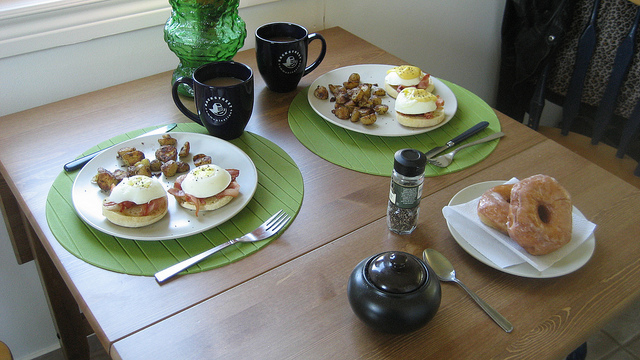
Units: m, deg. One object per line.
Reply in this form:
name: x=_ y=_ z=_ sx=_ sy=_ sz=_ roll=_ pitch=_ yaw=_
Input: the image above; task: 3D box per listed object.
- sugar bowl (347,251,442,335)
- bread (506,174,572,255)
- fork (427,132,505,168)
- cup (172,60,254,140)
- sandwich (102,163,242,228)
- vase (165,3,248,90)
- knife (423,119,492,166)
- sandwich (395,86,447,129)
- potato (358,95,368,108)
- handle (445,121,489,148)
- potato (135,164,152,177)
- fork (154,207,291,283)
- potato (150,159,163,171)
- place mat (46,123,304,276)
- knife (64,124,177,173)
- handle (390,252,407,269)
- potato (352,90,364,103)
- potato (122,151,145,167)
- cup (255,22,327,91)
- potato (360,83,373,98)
sugar bowl: x=0.189 y=0.252 z=1.049 sx=0.237 sy=0.137 sz=0.235 roll=-1 pitch=30 yaw=0
bread: x=0.592 y=0.088 z=1.135 sx=0.193 sy=0.069 sz=0.203 roll=27 pitch=67 yaw=-3
fork: x=0.479 y=-0.095 z=1.344 sx=0.296 sy=0.021 sz=0.049 roll=-23 pitch=52 yaw=-13
cup: x=-0.312 y=-0.277 z=1.427 sx=0.308 sy=0.216 sz=0.200 roll=-10 pitch=45 yaw=-8
sandwich: x=-0.413 y=0.043 z=1.160 sx=0.265 sy=0.066 sz=0.191 roll=-19 pitch=44 yaw=-22
vase: x=-0.399 y=-0.533 z=1.689 sx=0.339 sy=0.374 sz=0.328 roll=-11 pitch=35 yaw=-22
knife: x=0.442 y=-0.116 z=1.360 sx=0.298 sy=0.014 sz=0.042 roll=-31 pitch=60 yaw=-26
sandwich: x=0.343 y=-0.258 z=1.434 sx=0.184 sy=0.065 sz=0.198 roll=17 pitch=46 yaw=21
potato: x=0.146 y=-0.268 z=1.441 sx=0.036 sy=0.009 sz=0.034 roll=-3 pitch=56 yaw=5
handle: x=0.487 y=-0.146 z=1.387 sx=0.158 sy=0.013 sz=0.026 roll=-29 pitch=52 yaw=-25
potato: x=-0.522 y=-0.027 z=1.234 sx=0.039 sy=0.013 sz=0.035 roll=17 pitch=57 yaw=-23
fork: x=-0.247 y=0.179 z=1.136 sx=0.420 sy=0.043 sz=0.056 roll=-28 pitch=24 yaw=-21
potato: x=-0.492 y=-0.042 z=1.258 sx=0.030 sy=0.018 sz=0.030 roll=33 pitch=56 yaw=26
place mat: x=-0.358 y=0.092 z=1.258 sx=0.500 sy=0.025 sz=0.460 roll=5 pitch=42 yaw=3
knife: x=-0.625 y=-0.093 z=1.309 sx=0.311 sy=0.016 sz=0.041 roll=-23 pitch=46 yaw=-18
handle: x=0.185 y=0.190 z=0.993 sx=0.038 sy=0.023 sz=0.035 roll=-1 pitch=51 yaw=6
potato: x=0.126 y=-0.286 z=1.437 sx=0.033 sy=0.016 sz=0.044 roll=-5 pitch=40 yaw=27
potato: x=-0.562 y=-0.064 z=1.258 sx=0.049 sy=0.033 sz=0.048 roll=-31 pitch=27 yaw=-23
cup: x=-0.126 y=-0.447 z=1.631 sx=0.339 sy=0.239 sz=0.242 roll=-13 pitch=39 yaw=-18
potato: x=0.173 y=-0.316 z=1.489 sx=0.038 sy=0.018 sz=0.052 roll=-2 pitch=44 yaw=0
